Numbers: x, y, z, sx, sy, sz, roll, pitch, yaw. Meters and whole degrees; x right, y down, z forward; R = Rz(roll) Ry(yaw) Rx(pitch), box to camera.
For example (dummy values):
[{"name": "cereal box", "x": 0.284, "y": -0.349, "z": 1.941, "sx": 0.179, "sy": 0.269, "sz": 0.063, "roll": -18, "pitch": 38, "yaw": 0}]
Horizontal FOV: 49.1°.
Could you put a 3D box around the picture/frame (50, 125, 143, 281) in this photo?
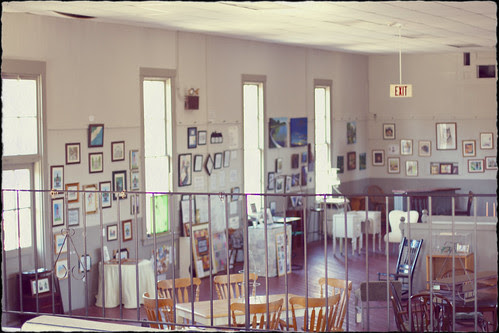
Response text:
[{"name": "picture/frame", "x": -3.052, "y": 0.724, "z": 10.702, "sx": 0.059, "sy": 3.365, "sz": 2.956, "roll": -2, "pitch": -1, "yaw": 31}]

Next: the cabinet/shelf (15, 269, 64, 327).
[{"name": "cabinet/shelf", "x": -3.861, "y": 2.424, "z": 10.050, "sx": 0.424, "sy": 0.903, "sz": 0.641, "roll": -7, "pitch": -5, "yaw": 20}]
